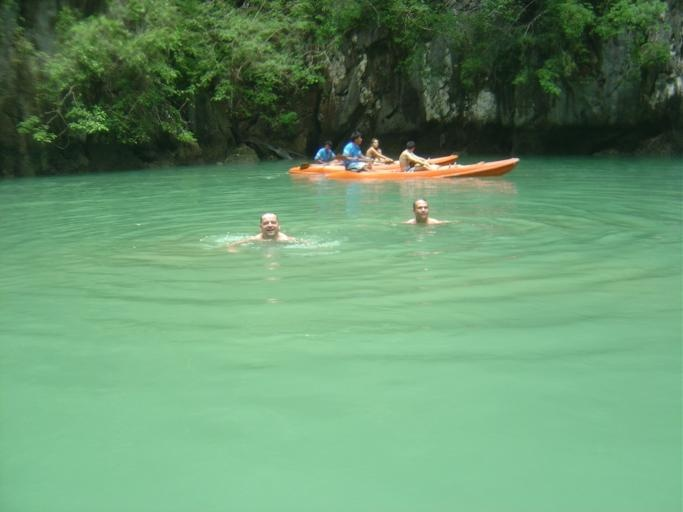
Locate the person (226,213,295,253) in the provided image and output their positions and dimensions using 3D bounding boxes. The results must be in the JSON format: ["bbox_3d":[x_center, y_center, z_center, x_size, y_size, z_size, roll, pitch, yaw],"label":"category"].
[{"bbox_3d":[-0.926,-0.310,8.560,0.945,0.457,0.350,-2,-2,-7],"label":"person"}]

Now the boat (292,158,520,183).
[{"bbox_3d":[1.301,-2.085,16.351,5.628,0.564,1.747,7,16,32],"label":"boat"}]

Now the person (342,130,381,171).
[{"bbox_3d":[0.401,-2.606,17.242,0.647,1.134,0.659,2,5,15],"label":"person"}]

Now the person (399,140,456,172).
[{"bbox_3d":[2.036,-2.333,16.121,1.284,0.786,0.739,4,14,0],"label":"person"}]
